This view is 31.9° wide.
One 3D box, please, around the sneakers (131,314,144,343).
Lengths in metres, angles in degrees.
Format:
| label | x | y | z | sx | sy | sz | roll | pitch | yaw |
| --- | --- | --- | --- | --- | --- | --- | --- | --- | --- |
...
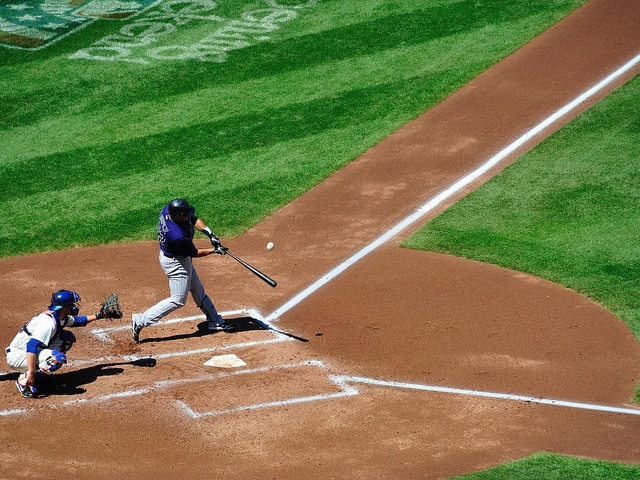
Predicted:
| label | x | y | z | sx | sy | sz | roll | pitch | yaw |
| --- | --- | --- | --- | --- | --- | --- | --- | --- | --- |
| sneakers | -3.315 | 1.596 | 20.522 | 0.255 | 0.462 | 0.178 | 1 | 12 | 2 |

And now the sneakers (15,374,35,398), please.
| label | x | y | z | sx | sy | sz | roll | pitch | yaw |
| --- | --- | --- | --- | --- | --- | --- | --- | --- | --- |
| sneakers | -5.094 | 2.531 | 19.415 | 0.428 | 0.276 | 0.174 | 44 | 31 | 5 |

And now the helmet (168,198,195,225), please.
| label | x | y | z | sx | sy | sz | roll | pitch | yaw |
| --- | --- | --- | --- | --- | --- | --- | --- | --- | --- |
| helmet | -2.516 | -0.590 | 20.260 | 0.512 | 0.435 | 0.307 | -2 | 53 | -7 |

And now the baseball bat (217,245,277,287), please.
| label | x | y | z | sx | sy | sz | roll | pitch | yaw |
| --- | --- | --- | --- | --- | --- | --- | --- | --- | --- |
| baseball bat | -1.445 | 0.547 | 22.210 | 1.595 | 0.161 | 0.118 | 26 | 59 | -2 |

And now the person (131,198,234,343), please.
| label | x | y | z | sx | sy | sz | roll | pitch | yaw |
| --- | --- | --- | --- | --- | --- | --- | --- | --- | --- |
| person | -2.577 | 0.538 | 20.512 | 1.783 | 2.618 | 0.478 | -8 | 15 | -21 |

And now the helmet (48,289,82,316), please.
| label | x | y | z | sx | sy | sz | roll | pitch | yaw |
| --- | --- | --- | --- | --- | --- | --- | --- | --- | --- |
| helmet | -4.471 | 1.055 | 19.796 | 0.580 | 0.404 | 0.403 | -15 | 23 | -34 |

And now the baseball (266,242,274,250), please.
| label | x | y | z | sx | sy | sz | roll | pitch | yaw |
| --- | --- | --- | --- | --- | --- | --- | --- | --- | --- |
| baseball | -0.969 | 0.088 | 22.191 | 0.131 | 0.085 | 0.138 | 23 | 65 | 6 |
